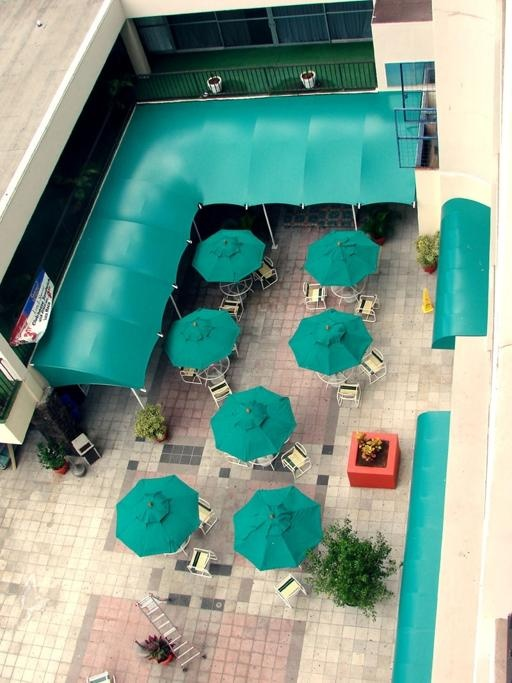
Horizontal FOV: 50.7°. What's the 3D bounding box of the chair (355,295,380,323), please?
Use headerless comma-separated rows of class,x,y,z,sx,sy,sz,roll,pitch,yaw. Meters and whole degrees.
chair,4.494,-1.379,21.737,1.169,1.121,0.975,1,67,14

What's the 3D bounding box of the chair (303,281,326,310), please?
chair,2.445,-1.955,22.885,0.986,0.931,1.178,0,48,8

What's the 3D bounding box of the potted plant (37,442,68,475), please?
potted plant,-7.496,4.362,20.182,0.663,1.099,0.654,23,73,23

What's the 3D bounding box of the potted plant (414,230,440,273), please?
potted plant,6.730,-3.178,21.221,1.221,1.938,1.191,-4,64,15

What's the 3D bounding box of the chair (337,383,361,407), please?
chair,3.438,1.887,20.032,0.853,0.787,0.790,4,47,10

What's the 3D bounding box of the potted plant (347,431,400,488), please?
potted plant,3.893,3.880,17.955,1.798,1.106,1.804,3,71,10

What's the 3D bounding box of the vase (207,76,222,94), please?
vase,-1.726,-11.025,23.380,0.572,0.201,0.774,2,64,0

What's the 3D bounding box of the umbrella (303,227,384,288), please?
umbrella,3.371,-3.188,21.286,2.603,1.073,2.334,-24,51,4

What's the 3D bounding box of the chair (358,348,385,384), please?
chair,4.271,0.973,20.047,0.729,1.002,0.692,-41,68,-2

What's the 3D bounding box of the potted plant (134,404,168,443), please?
potted plant,-3.913,3.154,20.376,0.873,0.994,0.942,11,62,15

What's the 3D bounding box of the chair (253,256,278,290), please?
chair,0.401,-2.889,23.535,0.844,1.110,0.984,-28,76,3

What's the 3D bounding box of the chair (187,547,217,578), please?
chair,-1.868,7.178,17.531,0.950,0.894,0.822,5,81,28

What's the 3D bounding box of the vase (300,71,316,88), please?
vase,2.193,-10.818,22.508,0.601,0.642,0.658,-8,54,17

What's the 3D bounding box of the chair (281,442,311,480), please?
chair,1.423,4.239,18.922,0.853,1.075,0.806,-45,67,-5

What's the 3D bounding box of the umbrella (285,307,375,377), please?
umbrella,2.631,0.047,19.217,2.621,0.962,2.308,-18,51,9

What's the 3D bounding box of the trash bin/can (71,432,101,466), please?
trash bin/can,-6.464,4.136,20.644,0.913,0.906,0.711,32,72,36

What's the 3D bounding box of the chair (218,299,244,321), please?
chair,-0.968,-1.481,23.246,0.778,1.489,1.009,10,61,8

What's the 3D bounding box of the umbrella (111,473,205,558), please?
umbrella,-2.904,5.596,17.796,2.498,1.285,2.514,40,86,24

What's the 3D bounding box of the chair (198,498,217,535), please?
chair,-1.620,5.990,18.361,0.708,1.047,0.667,36,68,14

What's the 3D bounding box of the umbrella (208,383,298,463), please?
umbrella,-0.086,2.755,18.074,2.623,1.007,2.273,-24,51,4

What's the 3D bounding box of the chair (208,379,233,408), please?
chair,-1.333,2.057,20.731,0.580,0.896,0.656,-24,71,1

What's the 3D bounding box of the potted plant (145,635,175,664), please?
potted plant,-2.806,9.069,15.859,0.657,0.668,0.662,29,76,41
